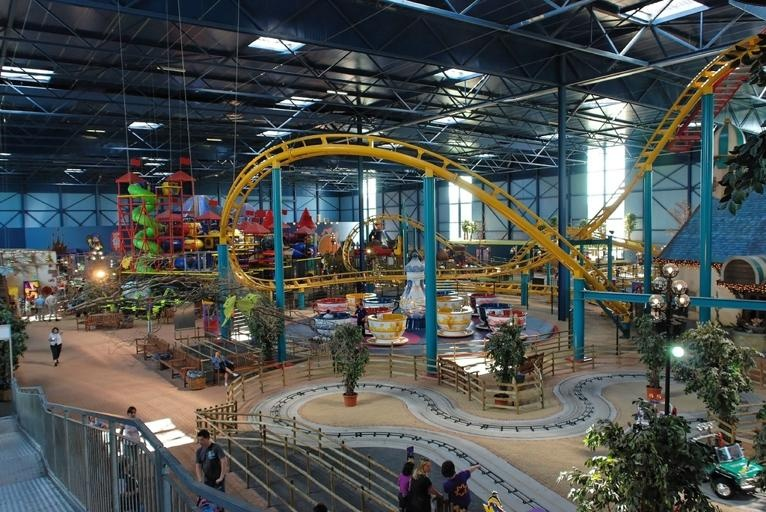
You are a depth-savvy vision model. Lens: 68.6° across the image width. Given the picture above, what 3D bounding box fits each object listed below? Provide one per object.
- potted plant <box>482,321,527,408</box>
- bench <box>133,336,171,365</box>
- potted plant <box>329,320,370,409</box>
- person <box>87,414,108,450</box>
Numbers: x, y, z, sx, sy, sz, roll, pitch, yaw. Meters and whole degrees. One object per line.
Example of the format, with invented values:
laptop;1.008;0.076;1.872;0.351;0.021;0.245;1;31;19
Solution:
potted plant;4.469;3.842;20.270;1.323;2.931;1.432;-2;2;9
bench;-11.573;4.773;28.100;0.710;0.712;2.452;1;0;-37
potted plant;-1.205;3.974;20.341;1.274;2.928;0.603;-2;2;-5
person;-5.827;3.612;11.421;0.193;0.224;1.149;-13;10;-31
